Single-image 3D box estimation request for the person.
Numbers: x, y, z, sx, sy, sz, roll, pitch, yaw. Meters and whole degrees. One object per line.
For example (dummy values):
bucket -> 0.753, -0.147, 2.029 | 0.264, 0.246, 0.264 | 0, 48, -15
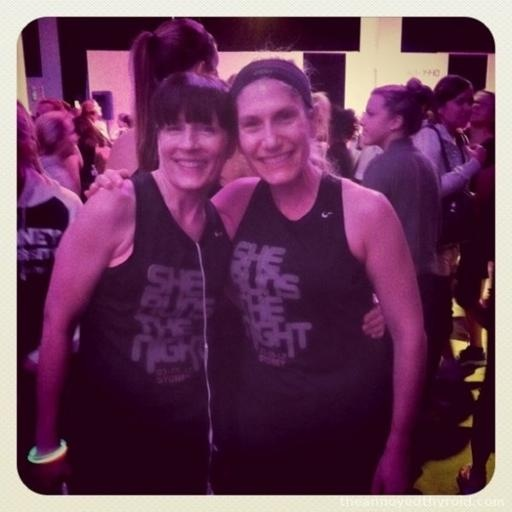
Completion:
person -> 0.004, -0.078, 1.856 | 1.286, 1.586, 0.351 | 1, 6, 3
